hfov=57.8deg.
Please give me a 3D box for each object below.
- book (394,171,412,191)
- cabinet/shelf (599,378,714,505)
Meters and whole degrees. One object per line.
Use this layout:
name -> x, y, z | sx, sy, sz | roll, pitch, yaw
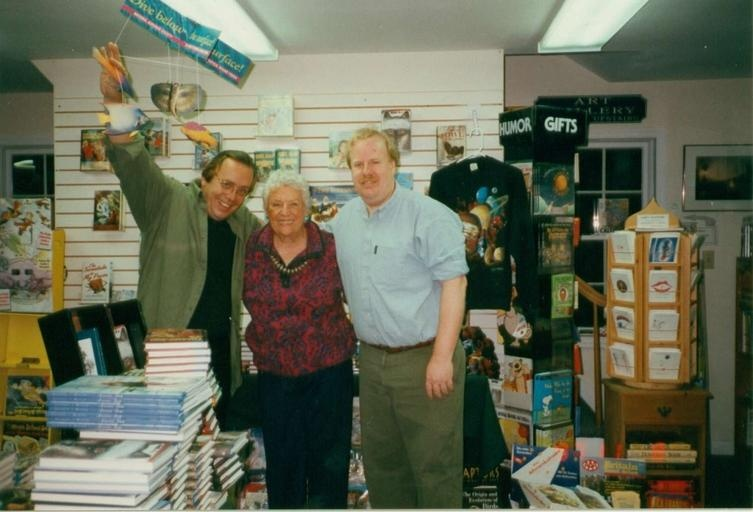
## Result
book -> 0.280, -0.686, 6.436 | 0.226, 0.211, 0.066 | 2, 2, -1
cabinet/shelf -> 2.429, 1.725, 6.417 | 1.060, 1.430, 0.947 | 0, -6, 6
